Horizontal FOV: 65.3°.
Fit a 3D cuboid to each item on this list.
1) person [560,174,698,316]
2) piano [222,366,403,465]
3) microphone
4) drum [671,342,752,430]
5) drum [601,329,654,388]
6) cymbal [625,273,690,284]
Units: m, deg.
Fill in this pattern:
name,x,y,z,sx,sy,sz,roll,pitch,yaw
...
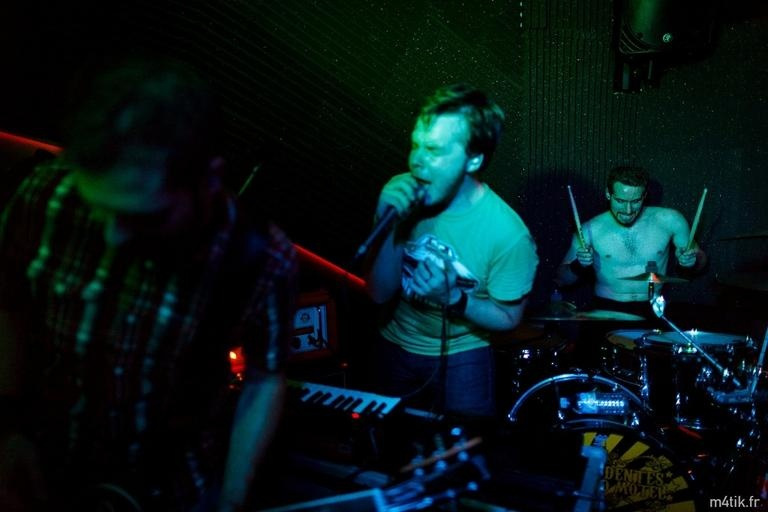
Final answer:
name,x,y,z,sx,sy,sz,roll,pitch,yaw
person,1.761,-0.126,4.393,1.059,1.415,0.553,-3,4,6
piano,-0.258,0.661,2.418,0.726,0.389,0.185,6,-32,30
microphone,0.006,-0.165,3.042,0.111,0.646,0.103,34,-37,4
drum,1.859,0.745,3.647,0.534,0.476,0.484,2,2,-8
drum,1.515,0.639,3.834,0.342,0.115,0.337,-6,17,2
cymbal,1.732,0.143,3.871,0.205,0.045,0.213,1,5,31
